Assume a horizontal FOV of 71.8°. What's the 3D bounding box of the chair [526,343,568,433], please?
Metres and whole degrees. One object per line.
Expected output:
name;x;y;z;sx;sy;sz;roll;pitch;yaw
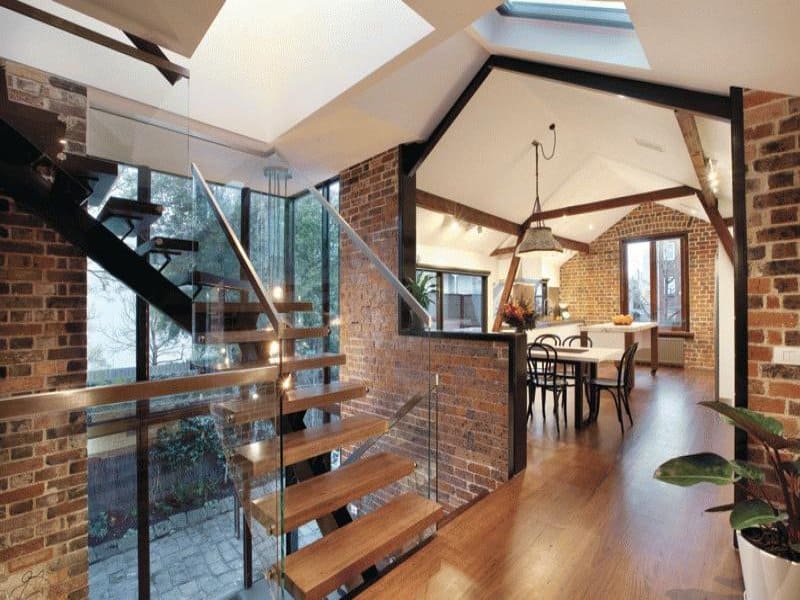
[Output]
chair;1.557;0.871;5.897;0.377;0.921;0.417;3;11;35

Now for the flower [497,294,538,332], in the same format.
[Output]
flower;1.230;0.127;5.732;0.325;0.406;0.352;0;2;26

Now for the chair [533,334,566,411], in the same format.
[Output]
chair;1.551;0.799;5.825;0.356;0.884;0.401;1;16;26

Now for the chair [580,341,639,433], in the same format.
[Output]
chair;2.157;0.854;5.703;0.458;0.828;0.399;1;3;30

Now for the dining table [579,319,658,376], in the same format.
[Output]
dining table;3.531;0.808;8.808;0.776;0.887;1.373;2;4;40

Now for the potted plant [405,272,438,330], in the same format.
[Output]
potted plant;0.153;0.029;4.999;0.319;0.406;0.369;-5;-16;15

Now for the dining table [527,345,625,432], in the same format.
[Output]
dining table;1.840;0.931;5.720;0.628;0.591;0.621;-8;23;-37
